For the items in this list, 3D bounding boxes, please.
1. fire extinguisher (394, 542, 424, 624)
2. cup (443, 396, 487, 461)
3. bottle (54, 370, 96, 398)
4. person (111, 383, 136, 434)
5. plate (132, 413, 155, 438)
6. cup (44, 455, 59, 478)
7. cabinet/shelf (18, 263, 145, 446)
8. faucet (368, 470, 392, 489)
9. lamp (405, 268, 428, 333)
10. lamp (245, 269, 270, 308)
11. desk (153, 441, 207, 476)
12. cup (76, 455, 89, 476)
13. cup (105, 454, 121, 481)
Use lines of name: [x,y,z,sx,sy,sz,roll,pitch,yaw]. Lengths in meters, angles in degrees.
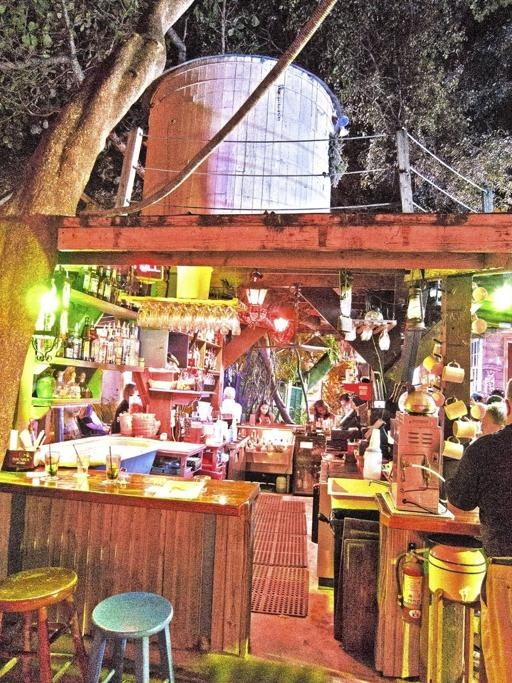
fire extinguisher: [0.927,1.452,3.512,0.172,0.463,0.196,1,-3,17]
cup: [1.415,0.590,3.964,0.257,0.315,0.187,-2,-40,2]
bottle: [-1.628,0.368,5.167,0.116,0.329,0.322,0,-3,6]
person: [-1.609,0.801,6.947,0.276,0.829,0.239,7,36,-14]
plate: [-1.218,0.921,6.337,0.238,0.275,0.203,-1,-8,17]
cup: [-1.407,0.835,3.955,0.065,0.147,0.147,5,-3,-41]
cabinet/shelf: [-1.466,0.087,5.024,0.748,1.664,2.486,3,-2,-9]
faucet: [1.121,1.216,5.140,0.247,0.159,0.155,-1,-4,8]
lamp: [1.551,-0.418,5.625,0.173,0.650,1.527,1,-3,16]
lamp: [-0.001,-0.506,5.460,0.192,0.393,0.398,2,-3,0]
desk: [-0.839,1.150,6.169,0.416,0.459,0.360,4,6,19]
cup: [-1.219,0.865,4.070,0.070,0.154,0.125,3,-3,-19]
cup: [-0.963,0.838,3.895,0.090,0.165,0.074,3,-3,-23]
